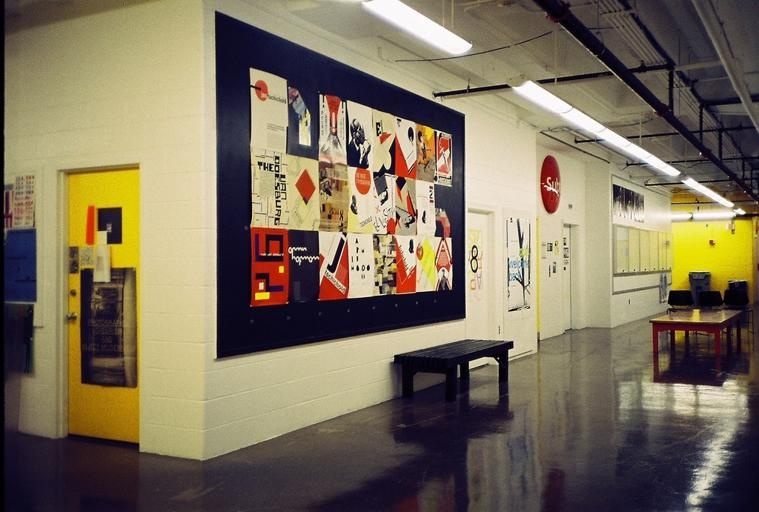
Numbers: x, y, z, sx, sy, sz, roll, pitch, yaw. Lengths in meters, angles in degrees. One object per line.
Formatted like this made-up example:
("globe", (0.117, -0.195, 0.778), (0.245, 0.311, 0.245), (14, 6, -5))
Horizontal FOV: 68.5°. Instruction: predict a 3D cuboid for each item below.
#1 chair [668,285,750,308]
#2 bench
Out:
("chair", (7.935, 1.060, 13.436), (2.074, 0.495, 1.006), (-1, 2, -17))
("bench", (1.150, 1.604, 7.849), (1.105, 0.638, 1.795), (1, 2, 41))
